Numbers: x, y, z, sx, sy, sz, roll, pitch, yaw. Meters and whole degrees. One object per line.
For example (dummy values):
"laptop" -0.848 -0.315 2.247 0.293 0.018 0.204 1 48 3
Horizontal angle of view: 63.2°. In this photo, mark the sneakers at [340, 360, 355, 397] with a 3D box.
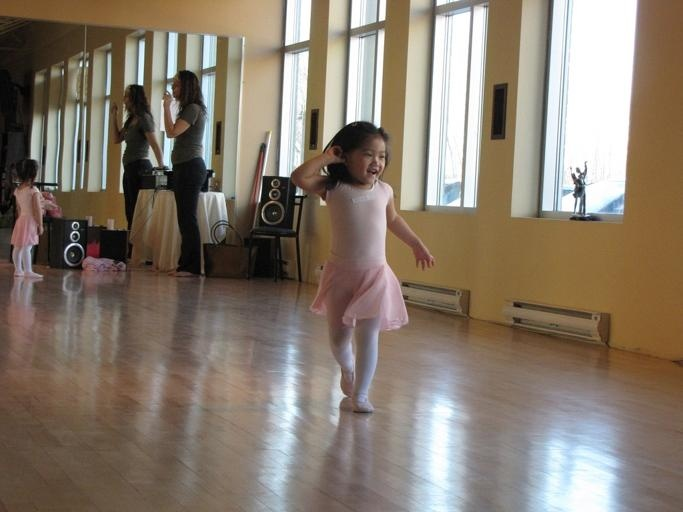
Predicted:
"sneakers" 0.025 0.599 2.690 0.054 0.175 0.065 -1 16 4

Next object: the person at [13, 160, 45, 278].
"person" -3.725 -0.460 6.597 0.315 1.386 0.651 1 2 -31

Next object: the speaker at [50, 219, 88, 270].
"speaker" -3.639 -0.143 7.693 0.350 0.712 0.461 -1 -4 -3

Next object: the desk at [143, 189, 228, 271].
"desk" -2.084 -0.598 8.007 0.991 0.827 0.716 8 23 40

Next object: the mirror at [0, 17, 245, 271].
"mirror" -3.148 -1.663 7.941 3.070 2.498 0.037 2 0 4

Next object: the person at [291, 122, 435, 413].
"person" 0.091 0.045 2.593 0.646 1.318 0.360 1 2 -37

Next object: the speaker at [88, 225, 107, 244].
"speaker" -3.372 -0.290 7.636 0.234 0.228 0.108 3 2 12

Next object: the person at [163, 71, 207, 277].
"person" -1.994 -1.014 7.051 0.463 2.552 0.368 2 2 -17

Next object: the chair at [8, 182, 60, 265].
"chair" -3.762 -0.411 6.622 0.317 1.274 0.304 1 -2 7

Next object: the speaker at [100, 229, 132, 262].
"speaker" -3.185 -0.259 7.720 0.357 0.532 0.303 1 45 -26

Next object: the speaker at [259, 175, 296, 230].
"speaker" -0.902 -0.723 7.516 0.491 0.695 0.400 3 2 0
